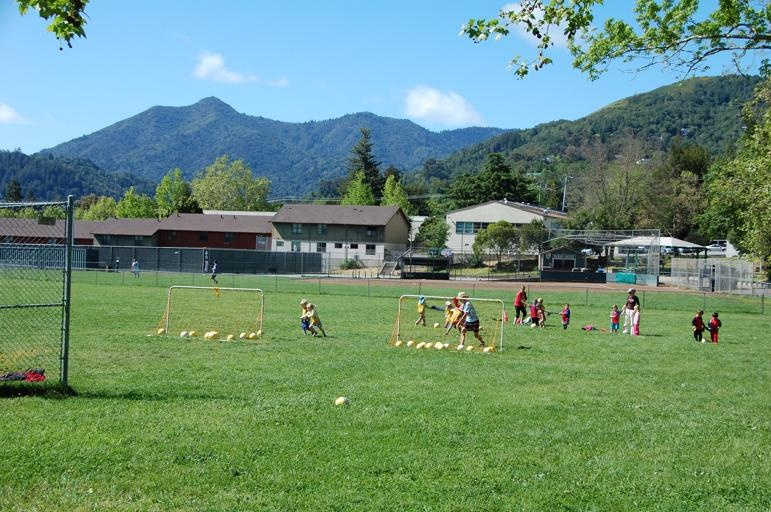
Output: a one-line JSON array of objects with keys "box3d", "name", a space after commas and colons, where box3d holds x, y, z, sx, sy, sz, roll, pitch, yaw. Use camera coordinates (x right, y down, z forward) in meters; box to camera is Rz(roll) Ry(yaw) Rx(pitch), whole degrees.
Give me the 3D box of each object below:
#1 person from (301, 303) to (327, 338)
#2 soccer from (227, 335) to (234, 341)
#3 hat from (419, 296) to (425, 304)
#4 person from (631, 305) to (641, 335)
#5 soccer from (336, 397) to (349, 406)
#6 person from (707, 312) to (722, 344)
[{"box3d": [-2.735, 2.480, 33.169, 1.089, 1.345, 1.268, 4, 8, 21], "name": "person"}, {"box3d": [-5.912, 3.095, 31.542, 0.184, 0.142, 0.181, -1, 2, -44], "name": "soccer"}, {"box3d": [1.638, 1.892, 36.352, 0.289, 0.409, 0.417, -1, 1, 7], "name": "hat"}, {"box3d": [10.779, 2.760, 35.759, 0.325, 1.217, 0.529, 3, 8, 9], "name": "person"}, {"box3d": [-1.277, 4.247, 24.322, 0.398, 0.162, 0.368, 1, 8, -4], "name": "soccer"}, {"box3d": [13.904, 2.946, 35.166, 0.488, 1.294, 2.330, 5, 8, 22], "name": "person"}]
